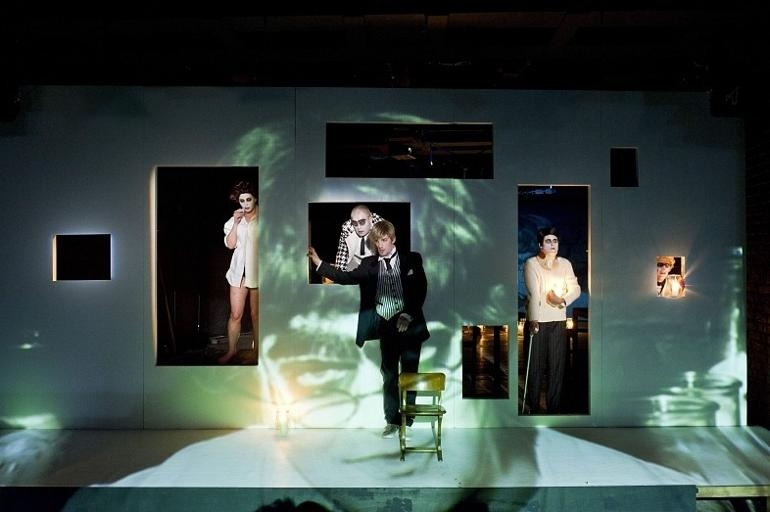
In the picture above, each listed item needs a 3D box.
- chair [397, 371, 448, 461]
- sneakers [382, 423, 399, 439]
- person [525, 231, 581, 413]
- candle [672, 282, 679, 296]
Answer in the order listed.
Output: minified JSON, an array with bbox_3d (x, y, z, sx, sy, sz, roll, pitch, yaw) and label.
[{"bbox_3d":[0.535,2.254,8.782,0.673,1.142,0.940,0,-4,2],"label":"chair"},{"bbox_3d":[0.069,2.572,8.935,0.107,0.119,0.298,-3,-2,44],"label":"sneakers"},{"bbox_3d":[2.534,0.994,9.386,0.812,2.804,0.190,-1,-4,12],"label":"person"},{"bbox_3d":[4.498,0.514,9.358,0.116,0.197,0.022,1,-4,-8],"label":"candle"}]
